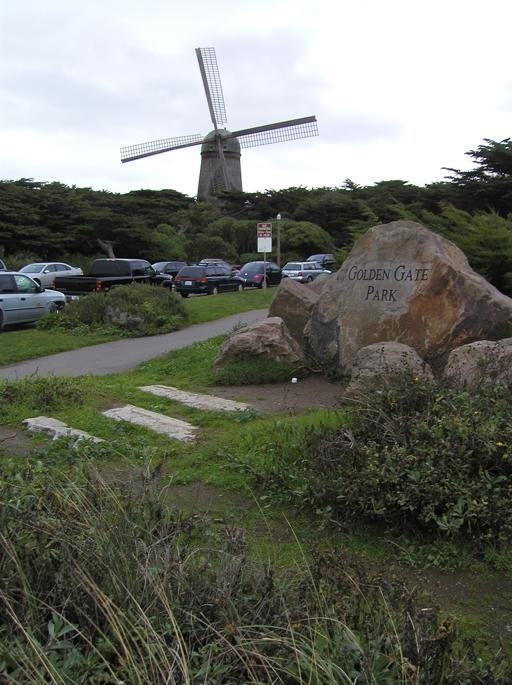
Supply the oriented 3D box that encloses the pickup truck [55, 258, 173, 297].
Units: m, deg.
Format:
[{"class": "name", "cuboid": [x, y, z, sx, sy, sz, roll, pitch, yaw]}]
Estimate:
[{"class": "pickup truck", "cuboid": [-4.924, -2.335, 20.543, 2.004, 1.231, 3.582, 8, 15, 33]}]
